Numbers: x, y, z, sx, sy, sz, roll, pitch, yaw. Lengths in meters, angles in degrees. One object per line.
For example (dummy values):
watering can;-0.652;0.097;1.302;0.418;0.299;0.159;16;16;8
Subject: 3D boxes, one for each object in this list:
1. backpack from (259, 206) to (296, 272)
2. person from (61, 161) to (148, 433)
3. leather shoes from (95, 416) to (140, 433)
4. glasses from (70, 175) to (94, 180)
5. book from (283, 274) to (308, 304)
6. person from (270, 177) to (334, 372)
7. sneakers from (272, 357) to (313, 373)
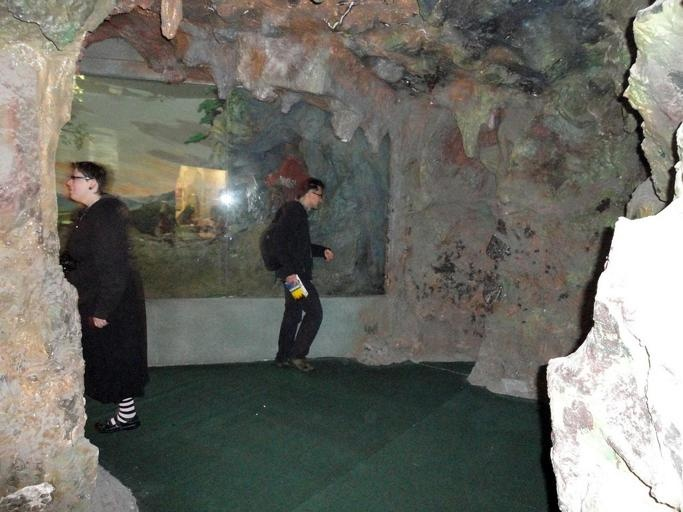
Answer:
backpack;-0.542;-0.134;5.007;0.302;0.564;0.370;7;23;4
person;-1.475;0.292;3.682;0.486;1.721;0.368;0;14;-13
leather shoes;-1.472;1.081;3.892;0.189;0.075;0.115;5;-4;-24
glasses;-1.552;-0.471;3.511;0.127;0.027;0.018;5;14;6
book;-0.352;0.263;4.851;0.159;0.063;0.210;6;-26;33
person;-0.361;0.173;5.106;0.554;1.691;0.618;2;14;-5
sneakers;-0.431;0.928;5.195;0.354;0.163;0.122;0;7;5
